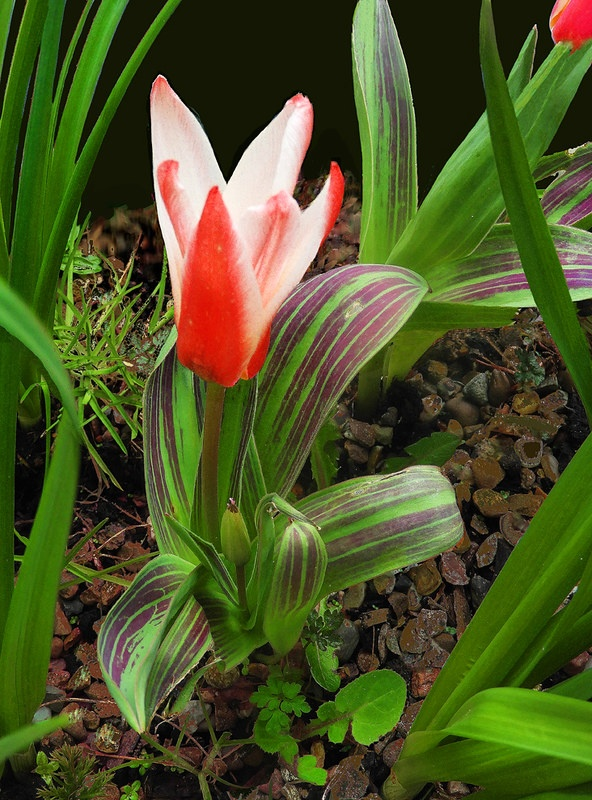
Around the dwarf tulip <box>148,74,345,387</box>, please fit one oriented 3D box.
[{"bbox_3d":[-0.040,-0.074,0.445,0.111,0.240,0.137,-4,42,-19],"label":"dwarf tulip"}]
